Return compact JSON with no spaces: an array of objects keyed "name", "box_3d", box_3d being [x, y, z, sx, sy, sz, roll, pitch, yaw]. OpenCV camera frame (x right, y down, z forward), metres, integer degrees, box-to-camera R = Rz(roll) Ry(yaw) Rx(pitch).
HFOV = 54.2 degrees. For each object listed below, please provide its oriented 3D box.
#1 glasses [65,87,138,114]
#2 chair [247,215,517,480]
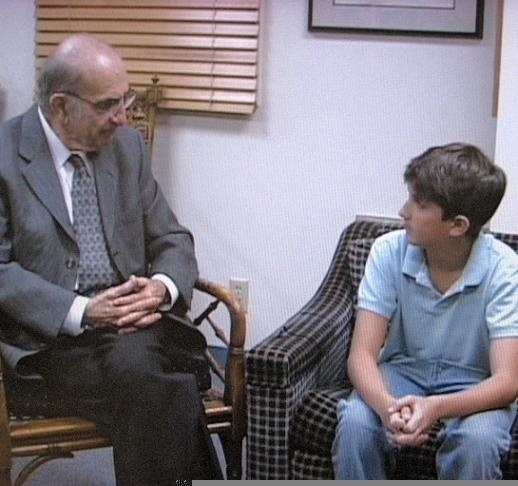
[{"name":"glasses","box_3d":[-0.287,-0.267,0.951,0.061,0.023,0.066,20,24,16]},{"name":"chair","box_3d":[0.222,0.245,1.254,0.532,0.807,0.521,2,7,15]}]
